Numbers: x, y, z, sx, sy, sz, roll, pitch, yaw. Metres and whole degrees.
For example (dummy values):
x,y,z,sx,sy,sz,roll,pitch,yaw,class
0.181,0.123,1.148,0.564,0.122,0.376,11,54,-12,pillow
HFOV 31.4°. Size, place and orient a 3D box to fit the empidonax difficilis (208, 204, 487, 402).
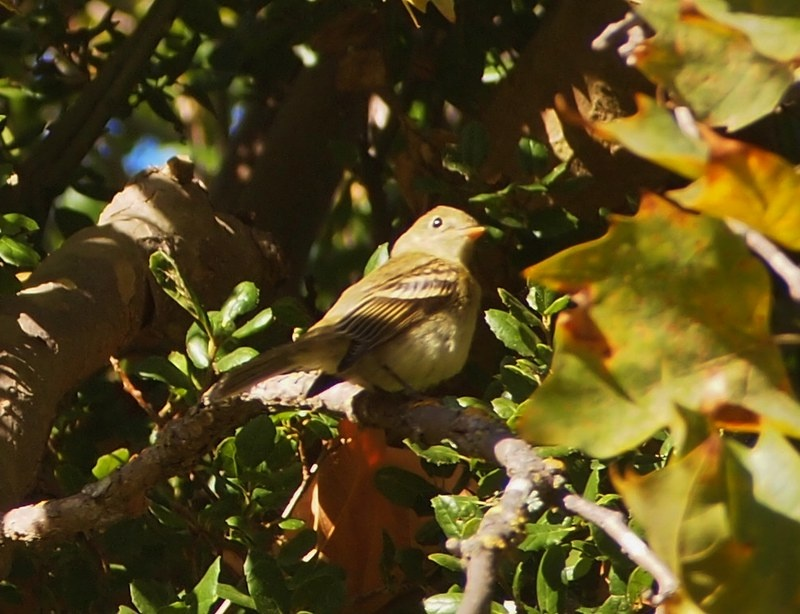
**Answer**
x,y,z,sx,sy,sz,roll,pitch,yaw,class
-0.125,0.025,3.748,0.803,0.520,0.358,-7,-13,-26,empidonax difficilis
